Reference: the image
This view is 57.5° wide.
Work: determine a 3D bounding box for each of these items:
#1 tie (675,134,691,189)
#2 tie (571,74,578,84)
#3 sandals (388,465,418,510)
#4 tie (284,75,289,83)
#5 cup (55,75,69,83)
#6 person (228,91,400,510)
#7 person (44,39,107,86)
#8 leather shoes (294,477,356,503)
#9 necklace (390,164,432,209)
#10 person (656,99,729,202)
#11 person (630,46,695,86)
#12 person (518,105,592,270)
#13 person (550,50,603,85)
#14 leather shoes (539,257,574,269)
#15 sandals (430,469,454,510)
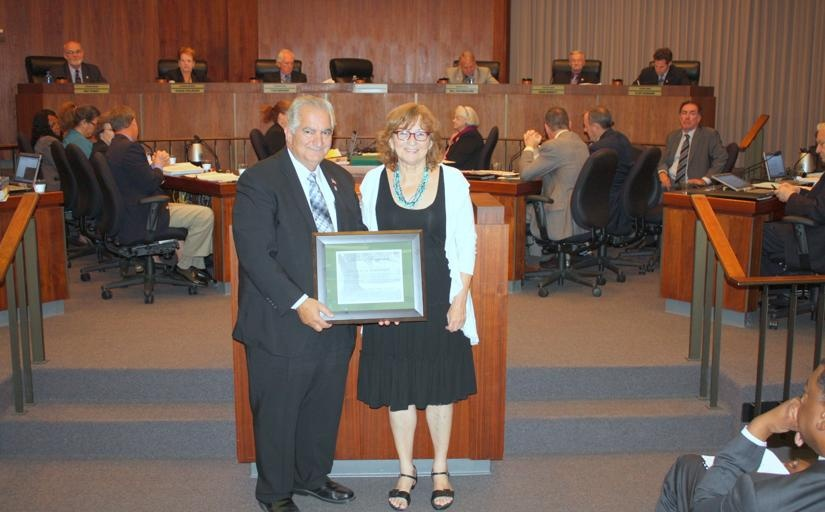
[{"bbox_3d":[3.128,-1.107,8.596,0.106,0.515,0.050,-4,10,-36],"label":"tie"},{"bbox_3d":[2.341,-2.540,10.858,0.114,0.118,0.028,-2,-3,17],"label":"tie"},{"bbox_3d":[-0.057,1.470,4.775,0.113,0.096,0.324,2,10,12],"label":"sandals"},{"bbox_3d":[-1.810,-2.534,10.763,0.123,0.115,0.029,0,10,-9],"label":"tie"},{"bbox_3d":[-4.729,-2.369,10.106,0.134,0.161,0.138,3,19,-1],"label":"cup"},{"bbox_3d":[-0.682,0.349,4.488,0.775,2.517,0.506,-5,14,-14],"label":"person"},{"bbox_3d":[-4.640,-2.564,10.333,0.787,0.688,0.424,-9,14,-36],"label":"person"},{"bbox_3d":[-0.563,1.465,4.827,0.381,0.167,0.156,1,5,2],"label":"leather shoes"},{"bbox_3d":[-0.016,-0.402,4.516,0.188,0.262,0.086,-1,-7,7],"label":"necklace"},{"bbox_3d":[3.095,-1.206,8.429,0.757,0.958,0.578,10,18,38],"label":"person"},{"bbox_3d":[3.483,-2.608,10.382,0.705,0.464,0.408,4,15,19],"label":"person"},{"bbox_3d":[1.413,-0.666,7.503,0.668,1.542,1.075,1,14,11],"label":"person"},{"bbox_3d":[2.378,-2.652,10.959,0.607,0.754,0.617,4,11,14],"label":"person"},{"bbox_3d":[1.462,0.073,7.555,0.252,0.094,0.141,2,4,20],"label":"leather shoes"},{"bbox_3d":[0.185,1.460,4.757,0.106,0.071,0.274,-2,24,1],"label":"sandals"}]
